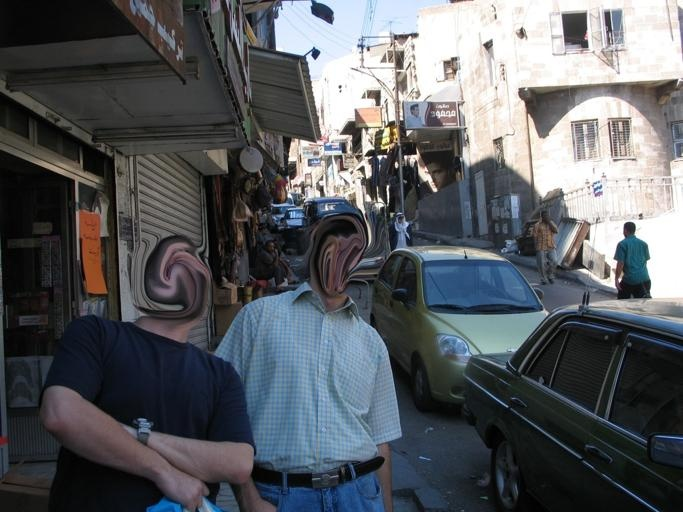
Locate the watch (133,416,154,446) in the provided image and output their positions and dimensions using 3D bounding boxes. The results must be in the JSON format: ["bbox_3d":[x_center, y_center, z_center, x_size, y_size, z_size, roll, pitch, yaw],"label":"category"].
[{"bbox_3d":[-0.779,0.684,2.179,0.057,0.110,0.088,6,-4,-13],"label":"watch"}]

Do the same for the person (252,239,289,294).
[{"bbox_3d":[-2.100,0.207,16.503,0.846,1.508,0.786,-6,13,-5],"label":"person"}]

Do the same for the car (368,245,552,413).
[{"bbox_3d":[1.398,0.743,7.658,1.399,1.425,2.706,1,-4,-9],"label":"car"}]
